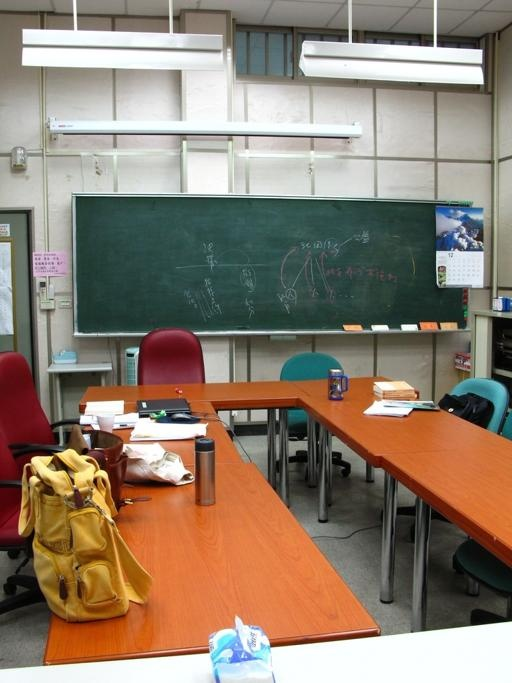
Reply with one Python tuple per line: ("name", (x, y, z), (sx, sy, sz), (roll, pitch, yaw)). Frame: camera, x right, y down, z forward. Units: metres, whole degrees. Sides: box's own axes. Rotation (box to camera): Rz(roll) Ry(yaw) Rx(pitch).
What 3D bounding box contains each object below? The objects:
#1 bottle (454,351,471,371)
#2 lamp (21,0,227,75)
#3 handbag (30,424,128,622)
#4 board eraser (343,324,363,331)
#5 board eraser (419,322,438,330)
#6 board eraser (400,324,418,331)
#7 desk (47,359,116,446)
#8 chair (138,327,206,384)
("bottle", (1.851, 0.175, 5.060), (0.137, 0.110, 0.180), (1, 4, 1))
("lamp", (-0.684, -1.502, 2.921), (1.016, 0.172, 0.152), (0, 6, -9))
("handbag", (-0.303, 0.340, 1.121), (0.250, 0.330, 0.256), (-5, 7, -22))
("board eraser", (0.820, -0.119, 4.783), (0.103, 0.025, 0.069), (-1, 35, -5))
("board eraser", (1.501, -0.136, 4.932), (0.110, 0.081, 0.027), (-2, -3, -11))
("board eraser", (1.331, -0.124, 4.899), (0.103, 0.070, 0.024), (-2, -18, -2))
("desk", (-1.337, 0.440, 4.550), (0.712, 0.803, 0.569), (-1, 5, -12))
("chair", (-0.509, 0.077, 3.577), (0.313, 0.450, 0.384), (-1, 4, -10))
